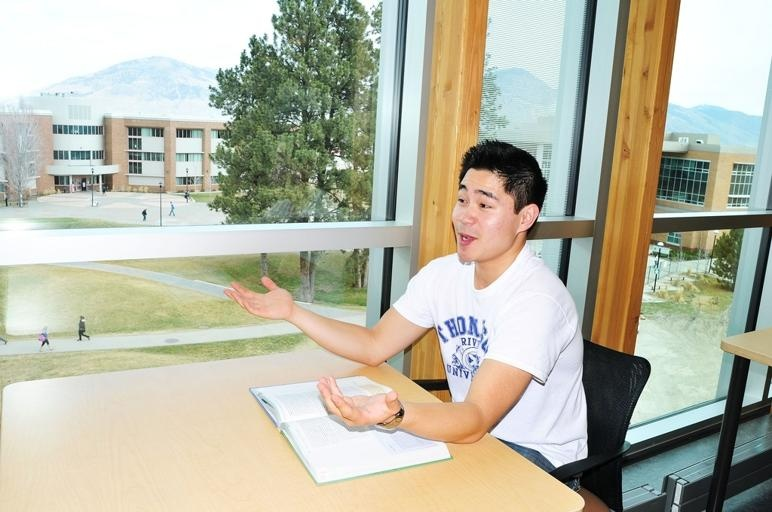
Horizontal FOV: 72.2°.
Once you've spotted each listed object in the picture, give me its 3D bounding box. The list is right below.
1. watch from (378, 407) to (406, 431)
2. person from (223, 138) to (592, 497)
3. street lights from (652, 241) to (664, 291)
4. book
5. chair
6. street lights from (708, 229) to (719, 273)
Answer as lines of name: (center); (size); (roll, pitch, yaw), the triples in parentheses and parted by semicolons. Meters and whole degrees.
watch: (0.017, 0.481, 1.551); (0.074, 0.027, 0.058); (-33, -10, 30)
person: (0.176, 0.062, 2.552); (1.439, 1.851, 1.113); (-6, 12, -27)
street lights: (1.710, 0.071, 3.341); (0.079, 0.323, 0.024); (-7, 12, -36)
book: (-0.100, 0.560, 1.613); (0.312, 0.057, 0.425); (-5, 17, -25)
chair: (0.565, 0.527, 2.079); (0.563, 0.715, 0.582); (4, 4, -34)
street lights: (2.257, -0.023, 3.632); (0.175, 0.282, 0.025); (-7, 12, -37)
